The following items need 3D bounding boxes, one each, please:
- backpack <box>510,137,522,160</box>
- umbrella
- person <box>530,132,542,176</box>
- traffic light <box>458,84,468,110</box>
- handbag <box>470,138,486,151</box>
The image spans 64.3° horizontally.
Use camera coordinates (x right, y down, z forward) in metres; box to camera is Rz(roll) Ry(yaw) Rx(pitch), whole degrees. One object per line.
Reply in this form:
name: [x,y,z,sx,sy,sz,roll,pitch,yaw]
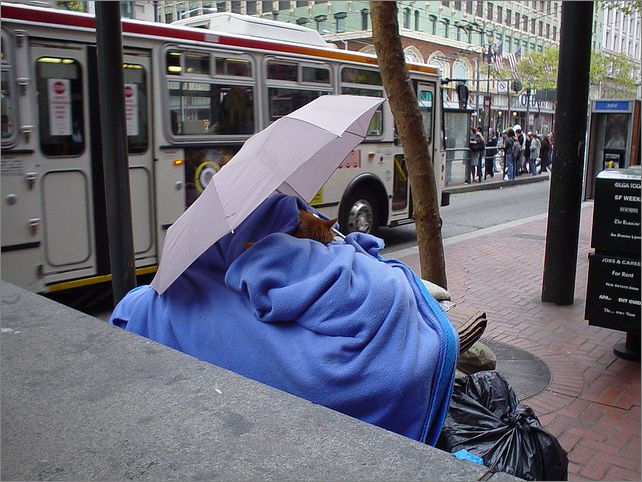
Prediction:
backpack: [8.962,-4.214,23.642,0.411,0.937,0.655,-9,44,4]
umbrella: [-0.225,-0.342,3.182,0.836,1.099,1.621,10,17,38]
person: [10.613,-4.288,25.495,0.463,1.984,1.107,6,14,26]
traffic light: [3.365,-3.418,12.140,0.175,0.606,0.388,7,15,18]
handbag: [6.683,-4.067,21.917,0.740,0.516,0.548,1,13,4]
